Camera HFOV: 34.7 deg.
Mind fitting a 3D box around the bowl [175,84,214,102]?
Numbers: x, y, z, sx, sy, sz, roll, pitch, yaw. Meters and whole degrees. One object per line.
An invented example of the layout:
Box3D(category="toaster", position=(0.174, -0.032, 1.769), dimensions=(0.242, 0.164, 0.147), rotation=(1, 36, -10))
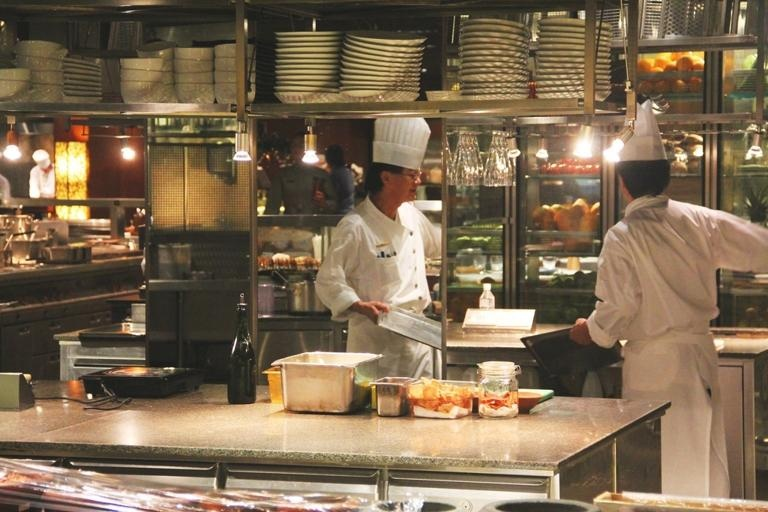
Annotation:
Box3D(category="bowl", position=(-1.064, -0.931, 6.962), dimensions=(0.219, 0.103, 0.036), rotation=(0, 10, -3))

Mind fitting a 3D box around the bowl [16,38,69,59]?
Box3D(category="bowl", position=(-1.946, -1.183, 7.010), dimensions=(0.217, 0.079, 0.240), rotation=(1, 3, 3))

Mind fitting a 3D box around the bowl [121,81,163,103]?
Box3D(category="bowl", position=(-1.359, -0.922, 6.873), dimensions=(0.229, 0.126, 0.192), rotation=(0, 9, -3))

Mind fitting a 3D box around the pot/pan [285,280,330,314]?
Box3D(category="pot/pan", position=(-0.440, 0.228, 7.146), dimensions=(0.202, 0.173, 0.222), rotation=(0, 0, 39))

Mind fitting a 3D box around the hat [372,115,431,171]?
Box3D(category="hat", position=(0.108, -0.650, 7.081), dimensions=(0.344, 0.244, 0.264), rotation=(6, 5, 7))

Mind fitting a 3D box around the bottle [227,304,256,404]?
Box3D(category="bottle", position=(-0.761, 0.497, 6.577), dimensions=(0.145, 0.575, 0.138), rotation=(0, 10, 0))

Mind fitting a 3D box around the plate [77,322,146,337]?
Box3D(category="plate", position=(-1.855, 0.499, 8.558), dimensions=(0.461, 0.055, 0.511), rotation=(0, 9, -3))

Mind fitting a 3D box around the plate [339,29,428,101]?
Box3D(category="plate", position=(-0.013, -1.012, 6.659), dimensions=(0.440, 0.228, 0.408), rotation=(0, 3, -11))

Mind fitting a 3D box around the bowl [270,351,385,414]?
Box3D(category="bowl", position=(-0.292, 0.653, 6.463), dimensions=(0.427, 0.183, 0.347), rotation=(0, -3, 12))

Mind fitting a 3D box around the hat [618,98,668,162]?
Box3D(category="hat", position=(1.537, -0.736, 7.250), dimensions=(0.244, 0.363, 0.334), rotation=(5, 11, 24))

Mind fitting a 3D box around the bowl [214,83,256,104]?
Box3D(category="bowl", position=(-0.830, -0.917, 6.909), dimensions=(0.168, 0.117, 0.177), rotation=(0, 4, 0))

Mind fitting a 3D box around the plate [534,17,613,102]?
Box3D(category="plate", position=(0.984, -1.032, 6.600), dimensions=(0.487, 0.424, 0.465), rotation=(0, -1, -40))

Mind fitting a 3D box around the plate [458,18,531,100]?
Box3D(category="plate", position=(0.585, -1.043, 6.604), dimensions=(0.461, 0.397, 0.431), rotation=(0, 2, 0))

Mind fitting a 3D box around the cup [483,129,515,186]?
Box3D(category="cup", position=(0.796, -0.662, 8.286), dimensions=(0.291, 0.364, 0.157), rotation=(-7, 13, -38))

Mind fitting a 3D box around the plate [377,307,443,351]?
Box3D(category="plate", position=(0.136, 0.422, 6.996), dimensions=(0.399, 0.247, 0.171), rotation=(-8, 13, -41))

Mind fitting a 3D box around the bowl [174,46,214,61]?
Box3D(category="bowl", position=(-1.071, -1.145, 6.948), dimensions=(0.219, 0.073, 0.060), rotation=(0, 10, -4))

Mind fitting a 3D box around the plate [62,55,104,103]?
Box3D(category="plate", position=(-1.715, -1.033, 7.188), dimensions=(0.294, 0.228, 0.276), rotation=(-1, 4, 5))

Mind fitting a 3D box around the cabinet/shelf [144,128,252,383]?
Box3D(category="cabinet/shelf", position=(-1.093, -0.020, 7.224), dimensions=(0.604, 1.491, 0.229), rotation=(1, 10, 1))

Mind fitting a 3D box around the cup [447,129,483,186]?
Box3D(category="cup", position=(0.551, -0.664, 8.260), dimensions=(0.227, 0.349, 0.259), rotation=(1, 10, 2))

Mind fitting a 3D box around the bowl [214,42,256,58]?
Box3D(category="bowl", position=(-0.814, -1.145, 6.818), dimensions=(0.142, 0.047, 0.134), rotation=(0, 4, 0))

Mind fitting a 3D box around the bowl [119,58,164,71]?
Box3D(category="bowl", position=(-1.347, -1.080, 6.902), dimensions=(0.232, 0.068, 0.073), rotation=(-1, 10, -10))

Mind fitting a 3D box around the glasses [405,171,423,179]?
Box3D(category="glasses", position=(0.177, -0.465, 6.973), dimensions=(0.059, 0.054, 0.018), rotation=(1, 8, -6))

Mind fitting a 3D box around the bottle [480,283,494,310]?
Box3D(category="bottle", position=(0.709, 0.262, 8.407), dimensions=(0.086, 0.167, 0.240), rotation=(2, 9, 8))

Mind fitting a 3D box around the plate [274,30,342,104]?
Box3D(category="plate", position=(-0.418, -1.049, 6.923), dimensions=(0.419, 0.356, 0.406), rotation=(0, 0, 18))

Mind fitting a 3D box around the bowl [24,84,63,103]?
Box3D(category="bowl", position=(-1.917, -0.928, 6.955), dimensions=(0.207, 0.088, 0.043), rotation=(-1, 10, -12))
